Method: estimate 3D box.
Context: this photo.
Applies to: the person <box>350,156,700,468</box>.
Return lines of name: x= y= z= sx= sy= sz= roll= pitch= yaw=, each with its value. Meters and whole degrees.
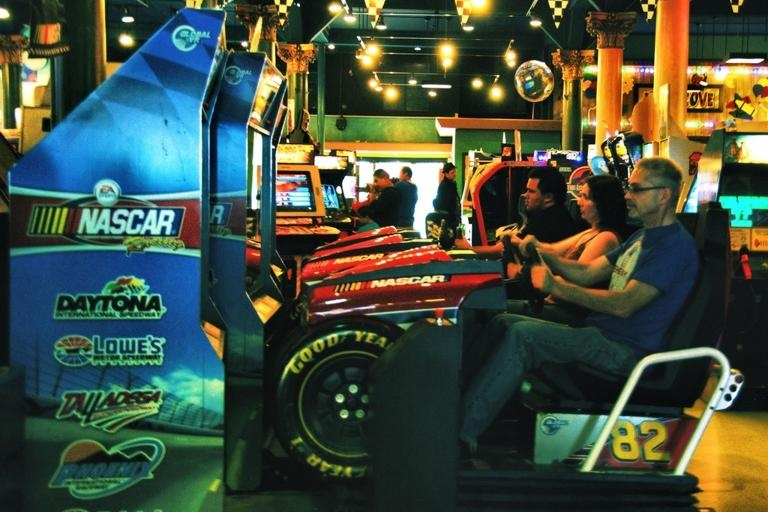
person: x=1.255 y=0.264 z=5.717 sx=1.526 sy=1.823 sz=1.050 roll=1 pitch=4 yaw=1

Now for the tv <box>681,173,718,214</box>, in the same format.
tv: x=2.800 y=-0.545 z=7.596 sx=0.236 sy=0.230 sz=0.431 roll=11 pitch=-1 yaw=6
